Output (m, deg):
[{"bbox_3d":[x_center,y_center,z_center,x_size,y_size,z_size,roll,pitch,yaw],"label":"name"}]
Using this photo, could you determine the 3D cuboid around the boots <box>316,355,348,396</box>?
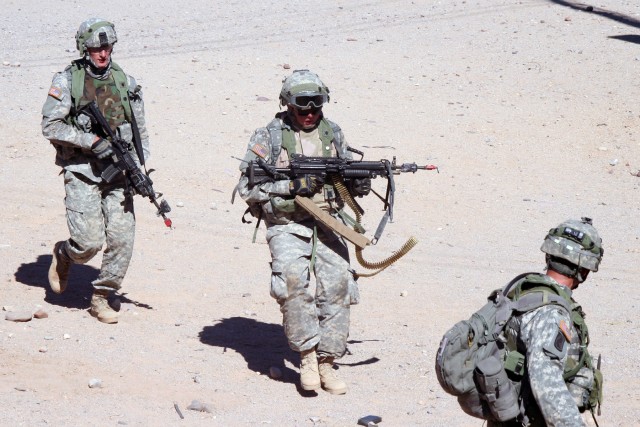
[{"bbox_3d":[0.118,1.690,8.897,0.232,0.245,0.619,-30,24,-7],"label":"boots"}]

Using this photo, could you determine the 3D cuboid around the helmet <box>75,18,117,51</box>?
[{"bbox_3d":[-2.644,-2.039,9.548,0.450,0.299,0.468,-14,14,-38],"label":"helmet"}]

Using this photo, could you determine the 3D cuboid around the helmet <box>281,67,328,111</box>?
[{"bbox_3d":[-0.154,-1.296,8.747,0.440,0.280,0.518,-1,17,-9],"label":"helmet"}]

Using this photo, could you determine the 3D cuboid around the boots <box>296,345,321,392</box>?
[{"bbox_3d":[-0.094,1.630,8.732,0.209,0.411,0.254,3,12,-2],"label":"boots"}]

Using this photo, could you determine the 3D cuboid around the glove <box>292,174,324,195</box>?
[{"bbox_3d":[-0.094,-0.292,8.761,0.373,0.236,0.147,-2,13,-25],"label":"glove"}]

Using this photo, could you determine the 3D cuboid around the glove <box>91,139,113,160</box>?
[{"bbox_3d":[-2.466,-0.729,9.450,0.292,0.182,0.198,-8,35,-18],"label":"glove"}]

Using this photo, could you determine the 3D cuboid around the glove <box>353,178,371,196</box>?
[{"bbox_3d":[0.463,-0.278,8.937,0.234,0.164,0.153,-11,23,-11],"label":"glove"}]

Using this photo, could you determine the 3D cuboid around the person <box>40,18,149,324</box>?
[{"bbox_3d":[-2.627,-0.501,9.608,1.130,3.423,0.815,2,13,-7],"label":"person"}]
